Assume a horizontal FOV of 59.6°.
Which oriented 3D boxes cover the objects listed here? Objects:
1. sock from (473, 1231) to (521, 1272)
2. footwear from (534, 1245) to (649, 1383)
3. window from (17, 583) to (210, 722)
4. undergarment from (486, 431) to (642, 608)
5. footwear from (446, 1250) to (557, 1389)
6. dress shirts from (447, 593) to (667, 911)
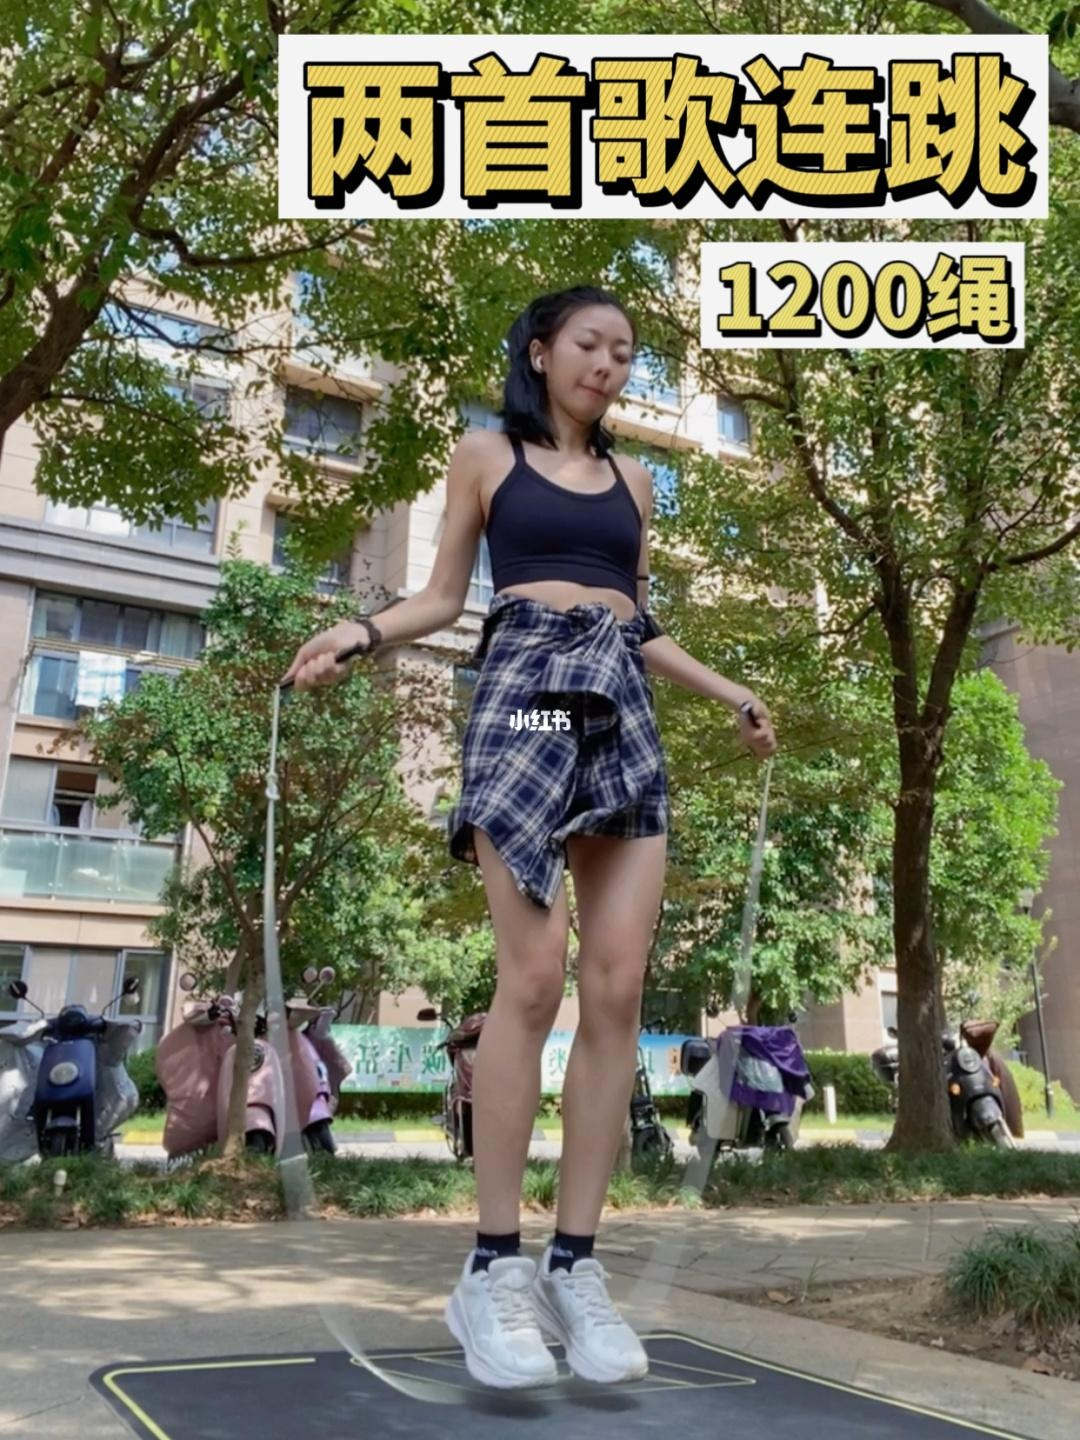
[{"bbox_3d":[-0.058,0.696,1.232,0.065,0.048,0.037,2,-20,-14],"label":"sock"},{"bbox_3d":[0.058,0.773,1.260,0.094,0.105,0.238,2,-1,-24],"label":"footwear"},{"bbox_3d":[-9.958,-1.565,21.442,3.465,2.313,0.490,8,-23,-26],"label":"window"},{"bbox_3d":[0.027,-0.319,1.521,0.236,0.308,0.171,15,-34,-26],"label":"undergarment"},{"bbox_3d":[-0.054,0.757,1.225,0.099,0.113,0.237,5,-3,-19],"label":"footwear"},{"bbox_3d":[0.020,0.061,1.407,0.324,0.461,0.287,13,-24,-28],"label":"dress shirts"}]
